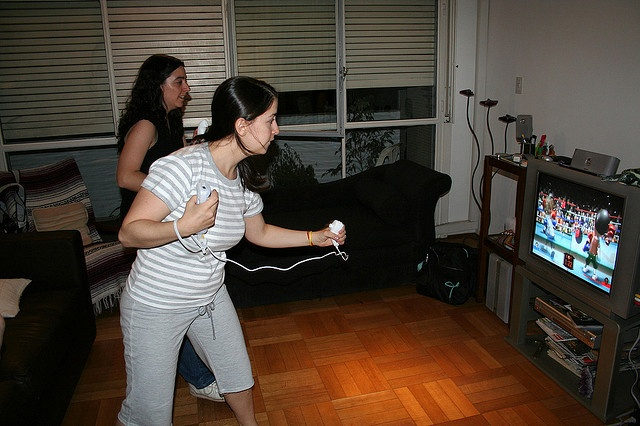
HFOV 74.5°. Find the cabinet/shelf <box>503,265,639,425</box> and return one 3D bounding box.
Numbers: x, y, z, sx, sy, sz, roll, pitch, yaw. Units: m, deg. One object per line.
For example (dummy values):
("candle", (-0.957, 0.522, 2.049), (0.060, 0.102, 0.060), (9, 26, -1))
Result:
("cabinet/shelf", (1.693, 0.898, 2.778), (0.504, 0.574, 0.821), (-11, 28, -19))

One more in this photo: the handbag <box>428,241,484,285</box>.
("handbag", (1.214, 0.431, 3.709), (0.446, 0.430, 0.324), (6, 4, 12))

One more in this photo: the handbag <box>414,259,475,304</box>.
("handbag", (1.121, 0.594, 3.817), (0.460, 0.434, 0.348), (10, 19, 24))

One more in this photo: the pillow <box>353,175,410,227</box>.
("pillow", (0.765, -0.147, 4.139), (0.376, 0.401, 0.854), (-16, -14, 28))

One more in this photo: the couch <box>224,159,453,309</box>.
("couch", (-0.051, 0.119, 3.966), (2.152, 0.969, 0.951), (-6, 19, -23))

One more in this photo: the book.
("book", (1.790, 0.905, 2.770), (0.520, 0.118, 0.480), (11, 13, 22))
